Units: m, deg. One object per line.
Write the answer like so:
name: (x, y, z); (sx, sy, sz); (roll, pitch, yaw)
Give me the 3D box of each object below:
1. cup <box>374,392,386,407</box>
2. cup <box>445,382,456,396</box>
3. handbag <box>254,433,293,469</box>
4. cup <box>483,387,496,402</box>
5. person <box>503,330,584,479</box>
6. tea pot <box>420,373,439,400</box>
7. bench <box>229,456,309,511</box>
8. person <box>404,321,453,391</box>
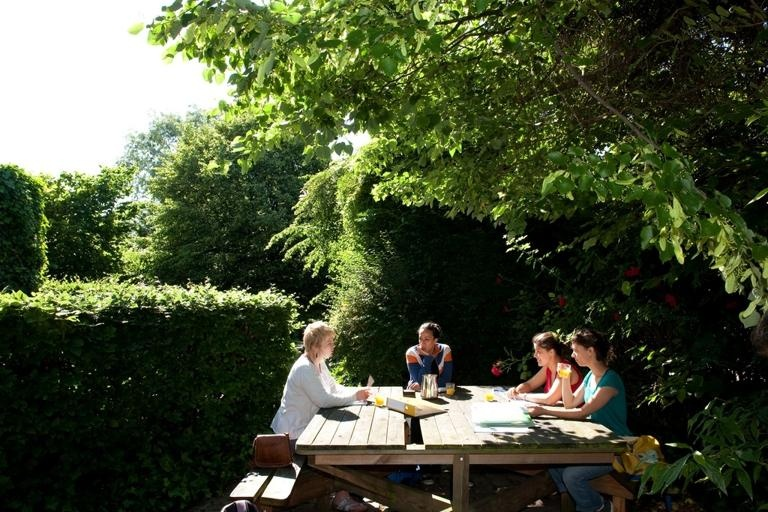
cup: (-0.050, 1.422, 5.561); (0.082, 0.089, 0.080); (-1, -4, 0)
cup: (0.690, 1.421, 6.017); (0.110, 0.101, 0.089); (-5, -8, 39)
handbag: (-0.910, 1.592, 4.683); (0.435, 0.310, 0.236); (1, -9, -5)
cup: (1.065, 1.424, 5.765); (0.098, 0.111, 0.100); (0, -10, 0)
person: (1.645, 1.199, 5.810); (0.826, 0.760, 0.608); (-9, 1, -6)
tea pot: (0.458, 1.336, 5.796); (0.182, 0.225, 0.216); (2, -17, 0)
bench: (-0.903, 1.848, 4.594); (0.391, 0.224, 0.939); (0, -3, 0)
person: (0.519, 1.166, 6.526); (0.688, 0.971, 0.668); (-1, -18, -2)
